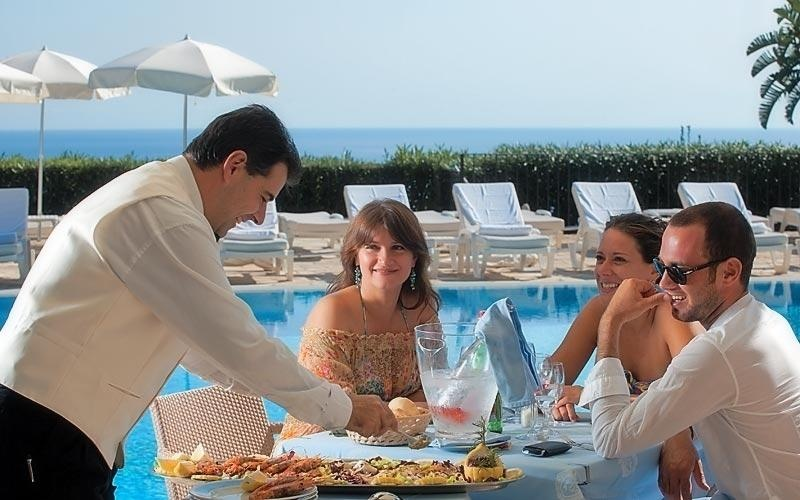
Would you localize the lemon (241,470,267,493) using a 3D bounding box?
[{"bbox_3d":[-0.471,0.762,2.226,0.090,0.059,0.074,-4,5,-16],"label":"lemon"}]

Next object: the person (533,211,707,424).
[{"bbox_3d":[1.231,0.452,3.613,0.863,1.191,0.768,-4,-25,35],"label":"person"}]

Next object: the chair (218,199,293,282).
[{"bbox_3d":[-2.097,-0.097,10.917,1.248,1.459,2.063,1,0,-5],"label":"chair"}]

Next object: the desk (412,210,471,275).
[{"bbox_3d":[0.699,0.200,11.074,0.896,0.953,1.349,-3,20,-4],"label":"desk"}]

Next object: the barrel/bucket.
[{"bbox_3d":[0.197,0.521,2.757,0.344,0.405,0.370,-1,-4,0],"label":"barrel/bucket"}]
